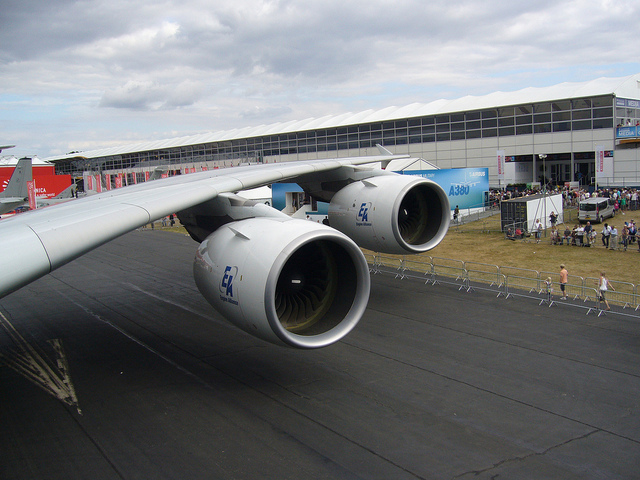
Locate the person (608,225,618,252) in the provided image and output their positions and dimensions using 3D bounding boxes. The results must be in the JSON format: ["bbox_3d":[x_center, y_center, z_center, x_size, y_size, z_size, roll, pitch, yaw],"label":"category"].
[{"bbox_3d":[19.668,-0.130,28.212,0.608,1.499,1.674,6,13,34],"label":"person"}]

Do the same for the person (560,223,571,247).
[{"bbox_3d":[17.853,-0.297,30.567,0.609,1.255,2.410,5,12,30],"label":"person"}]

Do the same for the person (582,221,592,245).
[{"bbox_3d":[18.973,-0.428,29.703,0.507,1.399,1.618,6,13,32],"label":"person"}]

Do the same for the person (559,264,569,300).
[{"bbox_3d":[10.510,1.813,18.038,0.387,1.430,2.205,5,13,30],"label":"person"}]

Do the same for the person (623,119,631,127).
[{"bbox_3d":[36.048,-13.890,49.162,1.661,0.756,0.372,-11,15,-43],"label":"person"}]

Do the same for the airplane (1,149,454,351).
[{"bbox_3d":[-1.319,-0.065,15.574,9.487,6.275,14.653,5,12,31],"label":"airplane"}]

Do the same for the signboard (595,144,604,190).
[{"bbox_3d":[32.121,-8.622,48.433,1.186,4.983,3.114,6,14,33],"label":"signboard"}]

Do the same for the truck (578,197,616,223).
[{"bbox_3d":[24.271,-2.585,37.196,4.362,1.888,2.372,-15,16,-42],"label":"truck"}]

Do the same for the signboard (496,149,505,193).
[{"bbox_3d":[20.574,-8.690,47.906,0.652,3.178,1.492,1,12,13],"label":"signboard"}]
